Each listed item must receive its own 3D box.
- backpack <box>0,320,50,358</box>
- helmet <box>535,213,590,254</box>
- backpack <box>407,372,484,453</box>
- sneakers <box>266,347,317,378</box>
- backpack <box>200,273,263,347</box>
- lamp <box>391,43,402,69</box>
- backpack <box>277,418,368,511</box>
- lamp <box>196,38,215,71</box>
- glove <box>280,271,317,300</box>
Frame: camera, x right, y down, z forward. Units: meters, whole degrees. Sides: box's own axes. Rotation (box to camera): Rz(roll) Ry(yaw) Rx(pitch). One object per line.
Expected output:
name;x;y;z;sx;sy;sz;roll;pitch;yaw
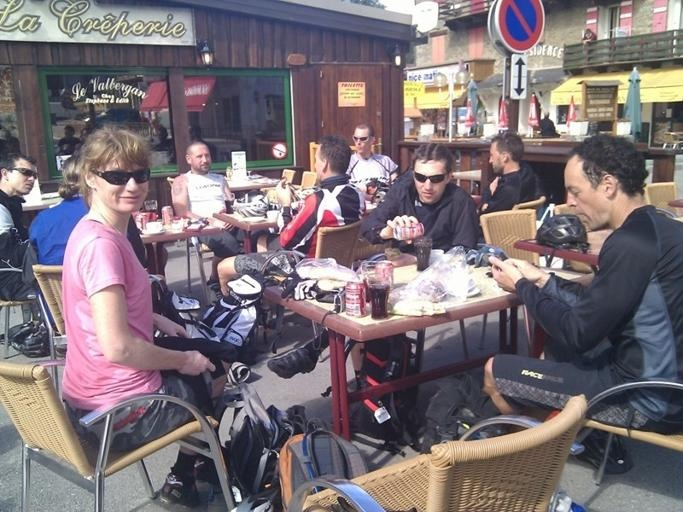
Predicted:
backpack;-2.830;0.737;4.938;0.358;0.201;0.492;-2;18;-36
helmet;1.629;-0.163;4.077;0.258;0.187;0.320;2;-18;1
backpack;0.710;1.029;3.536;0.426;0.136;0.416;-19;38;34
sneakers;-0.284;0.634;3.290;0.301;0.157;0.121;-16;-13;-21
backpack;-0.741;0.382;3.753;0.254;0.490;0.481;31;0;-37
lamp;1.089;-3.956;10.773;0.262;0.473;0.161;-7;14;-10
backpack;-0.099;0.874;2.355;0.376;0.290;0.401;-12;5;20
lamp;-2.249;-3.359;9.044;0.252;0.412;0.227;-8;14;-15
glove;-0.242;0.174;3.065;0.146;0.063;0.143;-29;33;-25
